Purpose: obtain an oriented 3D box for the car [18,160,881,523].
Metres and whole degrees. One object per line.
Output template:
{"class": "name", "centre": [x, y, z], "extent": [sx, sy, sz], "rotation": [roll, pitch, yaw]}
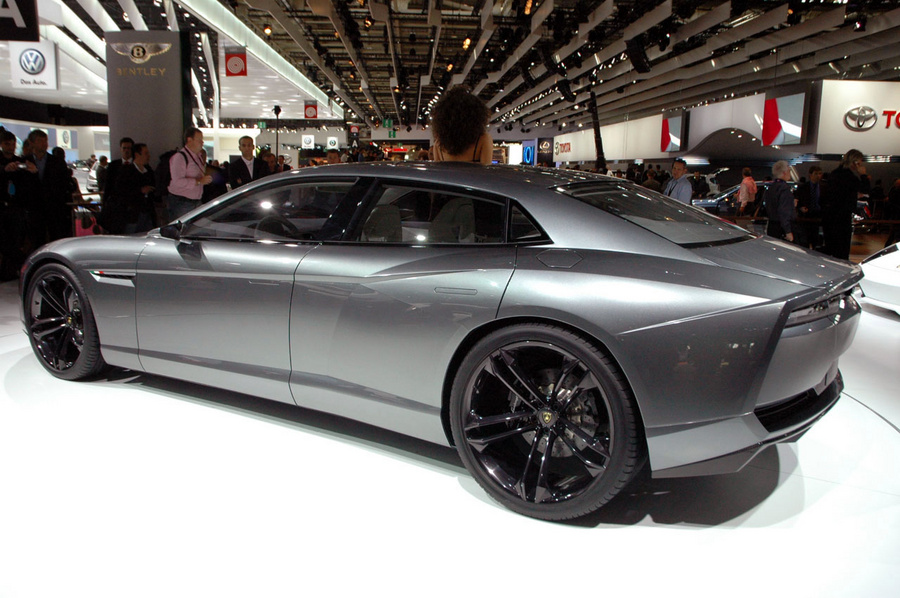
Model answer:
{"class": "car", "centre": [-0.194, 0.075, 3.065], "extent": [4.309, 1.717, 1.300], "rotation": [8, 16, 28]}
